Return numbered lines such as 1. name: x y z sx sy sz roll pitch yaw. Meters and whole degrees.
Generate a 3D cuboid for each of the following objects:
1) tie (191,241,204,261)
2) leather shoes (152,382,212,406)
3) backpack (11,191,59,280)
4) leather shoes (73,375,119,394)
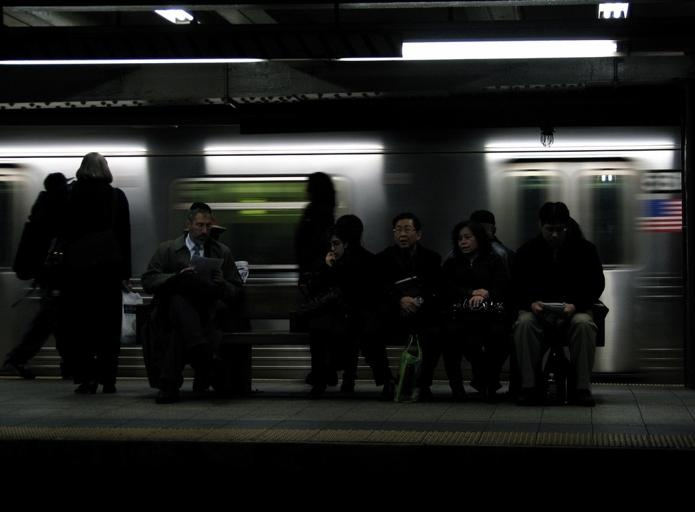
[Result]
1. tie: -1.462 -0.053 6.861 0.177 0.138 0.125 5 4 -6
2. leather shoes: -1.629 1.339 6.861 0.186 0.224 0.587 -5 -16 29
3. backpack: -3.218 -0.160 7.336 0.492 0.868 0.236 23 13 33
4. leather shoes: -2.524 1.310 7.278 0.509 0.192 0.155 4 -2 -10
